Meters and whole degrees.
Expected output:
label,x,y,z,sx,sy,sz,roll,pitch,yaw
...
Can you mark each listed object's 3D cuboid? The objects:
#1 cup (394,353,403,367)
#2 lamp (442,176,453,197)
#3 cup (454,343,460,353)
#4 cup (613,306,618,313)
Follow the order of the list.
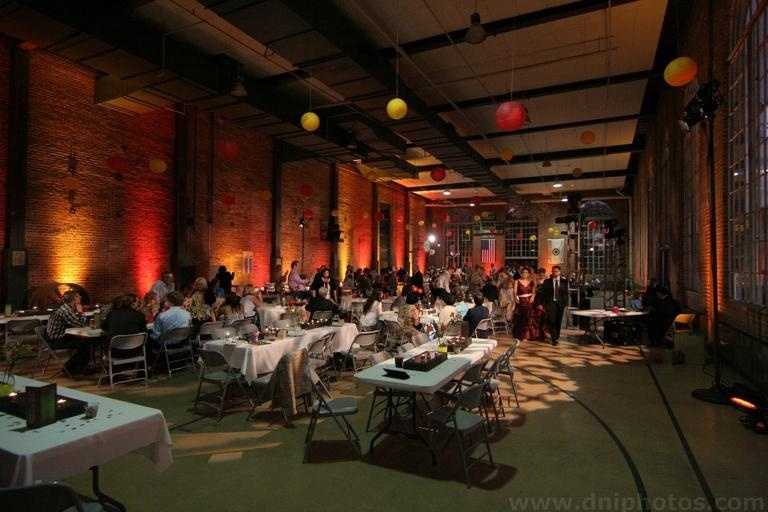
label,x,y,z,sx,sy,sz,roll,pitch,yaw
cup,0.225,1.620,7.916,0.139,0.141,0.134,0,-9,0
lamp,3.149,-3.503,26.425,0.665,0.973,0.643,-7,8,-43
cup,1.202,1.517,8.553,0.167,0.104,0.106,1,4,12
cup,5.942,1.396,13.383,0.145,0.156,0.147,1,-1,0
